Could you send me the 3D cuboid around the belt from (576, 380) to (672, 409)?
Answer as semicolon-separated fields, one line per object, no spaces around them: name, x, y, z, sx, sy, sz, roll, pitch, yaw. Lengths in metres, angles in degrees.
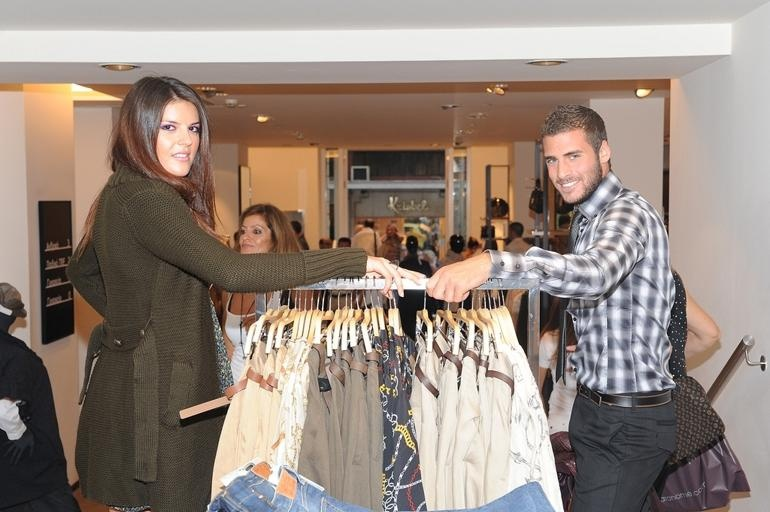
belt;1.047;0.606;2.577;0.384;0.069;0.116;0;5;12

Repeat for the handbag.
handbag;1.567;0.838;3.034;0.348;0.513;0.120;-3;5;-22

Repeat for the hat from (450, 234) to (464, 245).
hat;1.009;-0.210;8.329;0.150;0.050;0.152;4;36;14
